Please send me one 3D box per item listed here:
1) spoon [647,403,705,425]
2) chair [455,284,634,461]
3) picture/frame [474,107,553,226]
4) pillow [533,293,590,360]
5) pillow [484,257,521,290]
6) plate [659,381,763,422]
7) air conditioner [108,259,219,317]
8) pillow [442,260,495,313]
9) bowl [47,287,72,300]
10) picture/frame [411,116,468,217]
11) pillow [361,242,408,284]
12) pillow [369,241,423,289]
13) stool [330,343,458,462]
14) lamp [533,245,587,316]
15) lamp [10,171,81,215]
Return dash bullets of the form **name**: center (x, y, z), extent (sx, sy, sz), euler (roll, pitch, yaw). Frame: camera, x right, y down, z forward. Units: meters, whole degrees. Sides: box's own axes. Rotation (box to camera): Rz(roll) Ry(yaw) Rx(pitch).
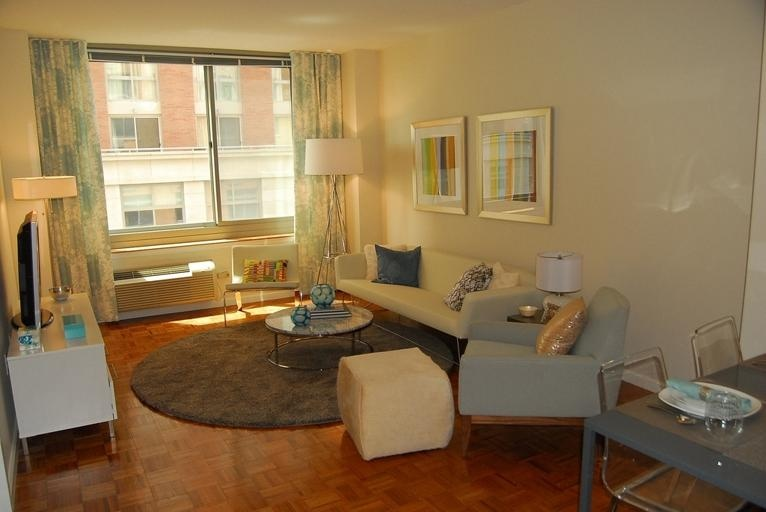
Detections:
- **spoon**: center (1.561, 0.844, 2.902), extent (0.075, 0.047, 0.329), euler (-5, 3, -18)
- **chair**: center (1.168, 0.786, 4.598), extent (1.567, 1.475, 1.102), euler (1, 13, 7)
- **picture/frame**: center (1.426, -1.008, 6.047), extent (0.048, 1.195, 1.091), euler (-12, 15, -32)
- **pillow**: center (1.361, 0.545, 4.381), extent (0.393, 0.521, 0.699), euler (11, 2, 12)
- **pillow**: center (1.268, 0.232, 5.690), extent (0.084, 0.261, 0.273), euler (30, -19, -28)
- **plate**: center (1.700, 0.792, 2.935), extent (0.285, 0.045, 0.266), euler (-6, 9, -43)
- **air conditioner**: center (-2.973, 0.470, 7.533), extent (1.526, 0.499, 0.433), euler (-8, 4, 5)
- **pillow**: center (0.922, 0.315, 5.799), extent (0.157, 0.502, 0.524), euler (31, -15, -8)
- **bowl**: center (-3.404, 0.363, 5.729), extent (0.166, 0.100, 0.161), euler (3, 14, -1)
- **picture/frame**: center (0.729, -1.160, 7.000), extent (0.140, 1.183, 1.047), euler (-12, 15, -33)
- **pillow**: center (0.169, 0.131, 6.965), extent (0.625, 0.515, 0.230), euler (5, 0, -8)
- **pillow**: center (0.157, 0.140, 6.914), extent (0.571, 0.473, 0.208), euler (1, -20, 6)
- **stool**: center (0.111, 1.156, 4.171), extent (0.825, 0.567, 0.793), euler (-3, 10, -17)
- **lamp**: center (1.614, 0.318, 4.935), extent (0.407, 0.594, 0.388), euler (3, 4, 14)
- **lamp**: center (-3.777, -0.734, 6.077), extent (0.412, 0.616, 0.419), euler (-1, 5, -16)
